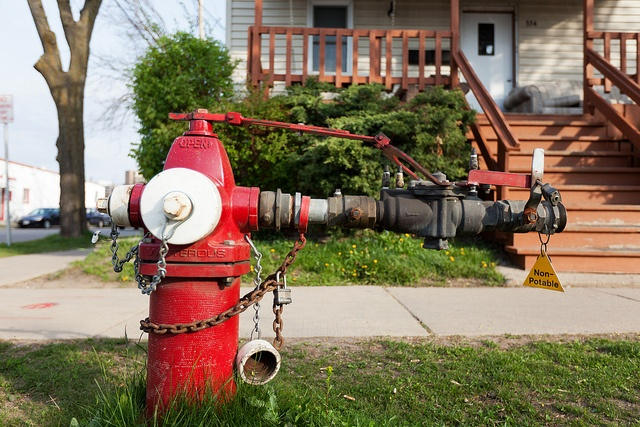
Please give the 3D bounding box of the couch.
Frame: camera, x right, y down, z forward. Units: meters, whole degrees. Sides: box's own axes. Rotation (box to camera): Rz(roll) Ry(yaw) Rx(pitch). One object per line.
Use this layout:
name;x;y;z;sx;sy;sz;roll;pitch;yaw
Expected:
couch;5.899;-2.864;19.660;2.620;0.870;1.791;0;4;13
